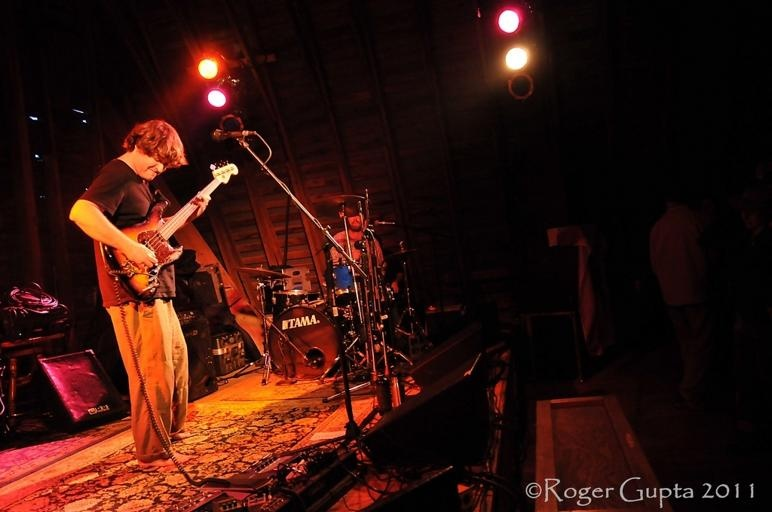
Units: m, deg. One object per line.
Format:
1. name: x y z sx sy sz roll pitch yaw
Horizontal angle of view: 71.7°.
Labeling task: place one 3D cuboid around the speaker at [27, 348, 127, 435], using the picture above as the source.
1. speaker: -3.103 1.360 5.430 0.635 0.877 0.271 -9 -28 -46

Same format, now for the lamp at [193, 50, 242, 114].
1. lamp: -1.910 -2.031 6.161 0.408 0.850 0.311 -11 -5 29

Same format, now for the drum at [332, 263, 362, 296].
1. drum: -0.532 0.272 6.640 0.376 0.419 0.411 -2 9 35

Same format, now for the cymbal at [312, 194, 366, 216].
1. cymbal: -0.538 -0.606 6.273 0.522 0.118 0.508 11 -23 -37

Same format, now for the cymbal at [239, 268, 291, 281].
1. cymbal: -1.440 0.205 6.266 0.356 0.083 0.361 9 1 28

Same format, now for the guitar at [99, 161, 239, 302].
1. guitar: -2.227 -0.279 5.523 0.305 0.737 2.011 -12 29 39

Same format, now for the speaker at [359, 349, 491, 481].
1. speaker: 0.278 1.014 3.561 0.724 0.525 0.791 -6 -7 11
